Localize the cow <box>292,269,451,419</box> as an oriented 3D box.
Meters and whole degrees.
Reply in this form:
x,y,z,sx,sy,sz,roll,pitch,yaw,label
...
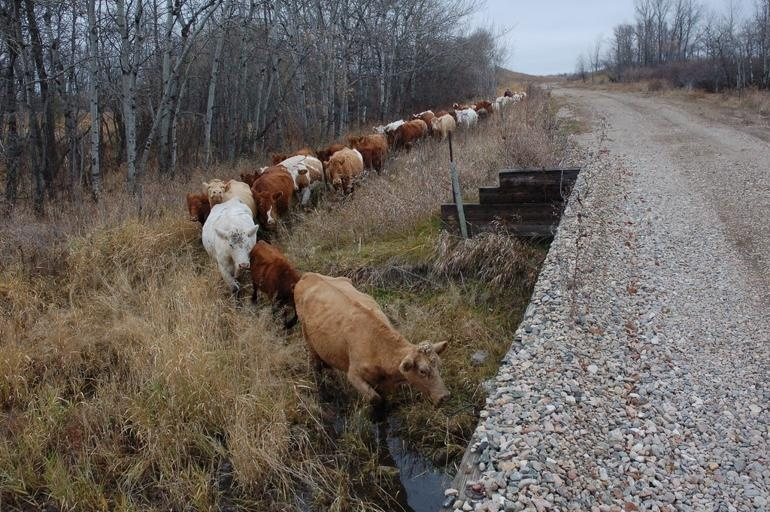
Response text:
x,y,z,sx,sy,sz,roll,pitch,yaw,label
-0.284,1.371,8.831,1.195,1.697,2.989,-36,49,-23,cow

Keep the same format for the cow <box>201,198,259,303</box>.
x,y,z,sx,sy,sz,roll,pitch,yaw,label
-2.934,-0.134,10.783,0.965,1.559,1.645,-5,13,-19,cow
